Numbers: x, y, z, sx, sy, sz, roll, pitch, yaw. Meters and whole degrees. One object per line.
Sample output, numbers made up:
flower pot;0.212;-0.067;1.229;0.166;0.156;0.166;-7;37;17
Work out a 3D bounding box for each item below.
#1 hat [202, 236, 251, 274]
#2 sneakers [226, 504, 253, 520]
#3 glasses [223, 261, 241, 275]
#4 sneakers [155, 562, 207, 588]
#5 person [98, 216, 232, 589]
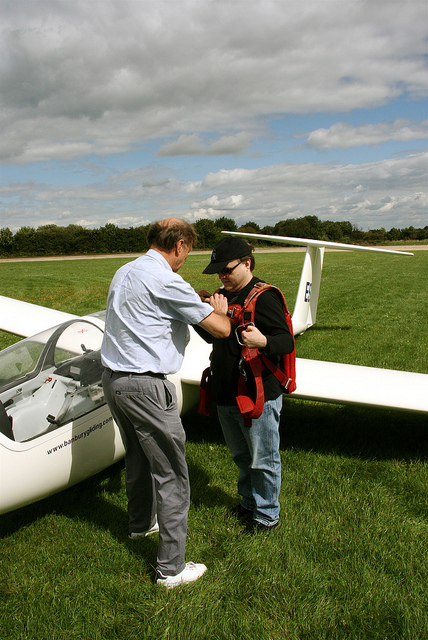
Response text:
hat;0.065;-0.336;2.463;0.268;0.148;0.177;-27;25;-32
sneakers;0.159;1.224;2.909;0.053;0.067;0.153;5;15;-43
glasses;0.088;-0.261;2.424;0.065;0.021;0.070;-8;30;47
sneakers;-0.162;1.259;2.330;0.254;0.101;0.089;-3;1;-32
person;-0.296;0.409;2.344;0.492;1.809;0.669;-8;7;-42
